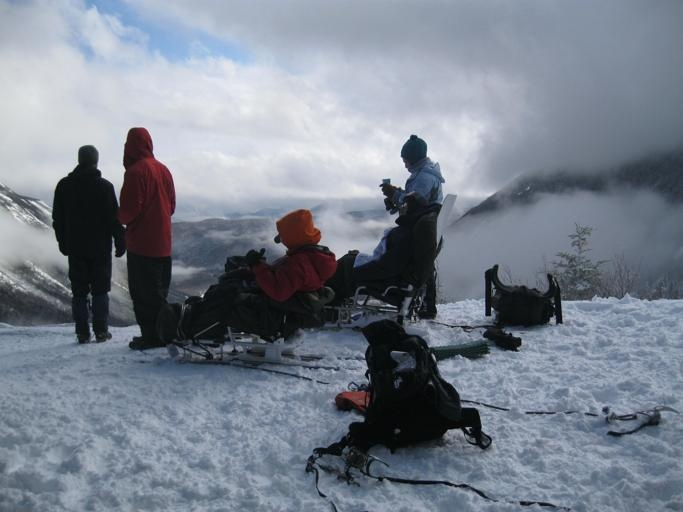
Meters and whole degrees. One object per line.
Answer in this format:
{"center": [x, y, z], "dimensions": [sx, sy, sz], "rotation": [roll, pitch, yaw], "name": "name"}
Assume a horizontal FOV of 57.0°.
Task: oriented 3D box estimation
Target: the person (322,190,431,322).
{"center": [0.721, -0.146, 8.296], "dimensions": [1.443, 1.846, 0.883], "rotation": [16, 16, 9], "name": "person"}

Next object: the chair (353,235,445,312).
{"center": [0.681, 0.243, 7.828], "dimensions": [0.914, 1.382, 0.910], "rotation": [11, 1, 4], "name": "chair"}

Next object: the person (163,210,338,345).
{"center": [-1.006, 0.252, 7.075], "dimensions": [1.965, 1.306, 1.110], "rotation": [-6, 1, 7], "name": "person"}

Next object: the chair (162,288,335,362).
{"center": [-1.121, 0.854, 7.228], "dimensions": [1.804, 0.841, 1.640], "rotation": [4, -8, -16], "name": "chair"}

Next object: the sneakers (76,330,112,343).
{"center": [-3.076, 1.010, 7.821], "dimensions": [0.138, 0.186, 0.422], "rotation": [5, 10, 25], "name": "sneakers"}

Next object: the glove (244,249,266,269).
{"center": [-0.907, 0.037, 6.574], "dimensions": [0.203, 0.207, 0.153], "rotation": [1, -16, -14], "name": "glove"}

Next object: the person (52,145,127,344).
{"center": [-3.118, -0.015, 7.738], "dimensions": [0.828, 2.167, 0.277], "rotation": [1, -2, -25], "name": "person"}

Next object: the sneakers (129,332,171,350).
{"center": [-2.220, 0.936, 7.257], "dimensions": [0.408, 0.156, 0.265], "rotation": [6, -6, -5], "name": "sneakers"}
